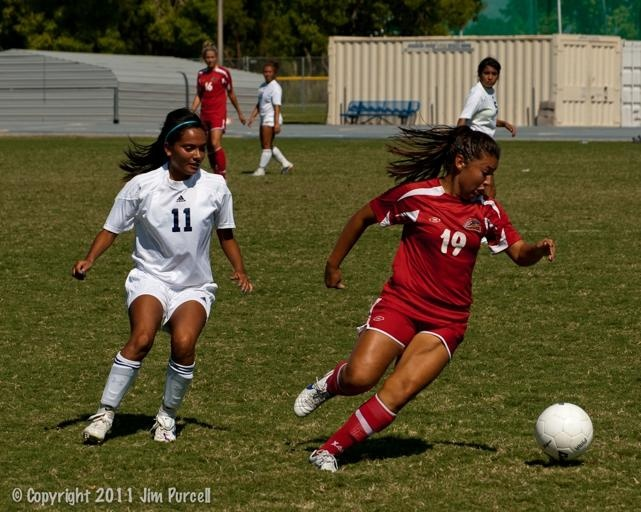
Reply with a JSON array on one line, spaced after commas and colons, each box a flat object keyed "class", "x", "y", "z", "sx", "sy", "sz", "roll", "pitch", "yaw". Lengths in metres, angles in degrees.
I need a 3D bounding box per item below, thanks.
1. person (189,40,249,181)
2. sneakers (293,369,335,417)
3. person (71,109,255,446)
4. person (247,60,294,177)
[{"class": "person", "x": -1.653, "y": -2.163, "z": 19.984, "sx": 0.646, "sy": 2.168, "sz": 0.969, "roll": 1, "pitch": 2, "yaw": 27}, {"class": "sneakers", "x": 0.003, "y": 1.143, "z": 11.335, "sx": 0.550, "sy": 0.198, "sz": 0.228, "roll": -22, "pitch": -22, "yaw": -30}, {"class": "person", "x": -1.269, "y": 0.169, "z": 11.331, "sx": 1.283, "sy": 2.717, "sz": 0.585, "roll": 1, "pitch": 9, "yaw": -12}, {"class": "person", "x": -0.849, "y": -2.168, "z": 21.661, "sx": 0.497, "sy": 1.775, "sz": 0.772, "roll": 1, "pitch": 2, "yaw": 42}]
